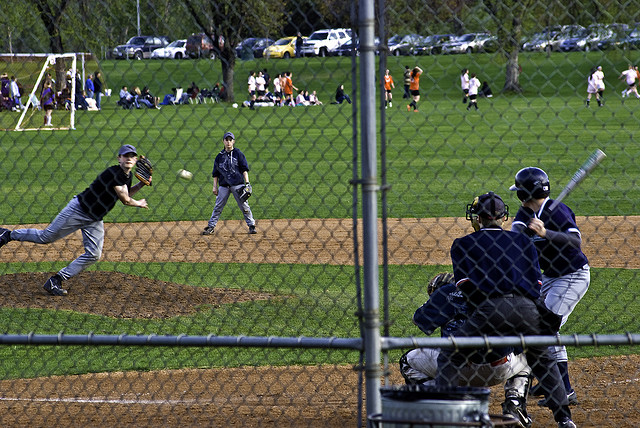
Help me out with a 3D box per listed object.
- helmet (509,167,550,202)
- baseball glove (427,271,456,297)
[{"bbox_3d":[2.377,-0.339,13.681,0.526,0.422,0.453,-3,10,-7],"label":"helmet"},{"bbox_3d":[1.358,0.772,13.283,0.227,0.118,0.323,28,73,44],"label":"baseball glove"}]
